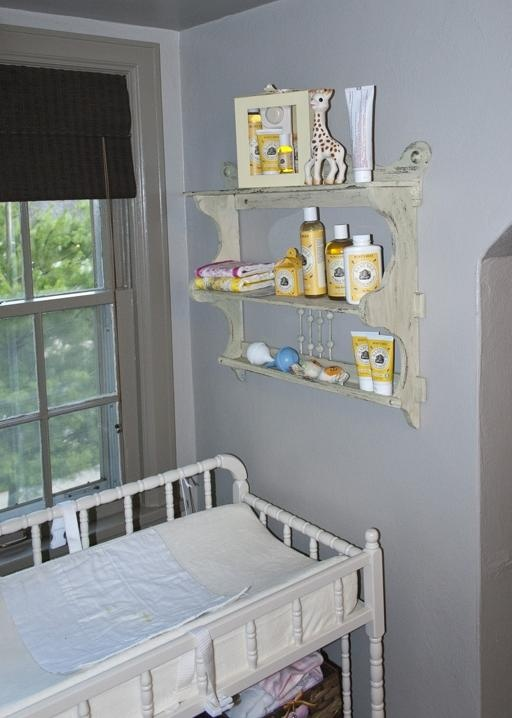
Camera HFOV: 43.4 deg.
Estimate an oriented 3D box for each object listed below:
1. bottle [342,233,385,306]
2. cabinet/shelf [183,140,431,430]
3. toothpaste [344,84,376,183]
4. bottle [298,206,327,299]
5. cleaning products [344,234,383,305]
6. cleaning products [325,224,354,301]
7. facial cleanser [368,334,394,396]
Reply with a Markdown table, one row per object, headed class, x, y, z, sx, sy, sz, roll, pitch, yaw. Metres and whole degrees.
| class | x | y | z | sx | sy | sz | roll | pitch | yaw |
| --- | --- | --- | --- | --- | --- | --- | --- | --- | --- |
| bottle | 0.239 | -0.203 | 1.455 | 0.089 | 0.150 | 0.085 | -3 | 11 | 1 |
| cabinet/shelf | 0.102 | -0.168 | 1.641 | 0.235 | 0.626 | 0.752 | -10 | 11 | -34 |
| toothpaste | 0.210 | -0.477 | 1.388 | 0.087 | 0.214 | 0.057 | -4 | 21 | -8 |
| bottle | 0.138 | -0.250 | 1.562 | 0.055 | 0.222 | 0.070 | -4 | 5 | -30 |
| cleaning products | 0.233 | -0.195 | 1.428 | 0.081 | 0.160 | 0.108 | -5 | 8 | -33 |
| cleaning products | 0.190 | -0.222 | 1.505 | 0.056 | 0.181 | 0.079 | -4 | 6 | -33 |
| facial cleanser | 0.285 | 0.015 | 1.460 | 0.055 | 0.138 | 0.056 | -3 | 9 | 7 |
